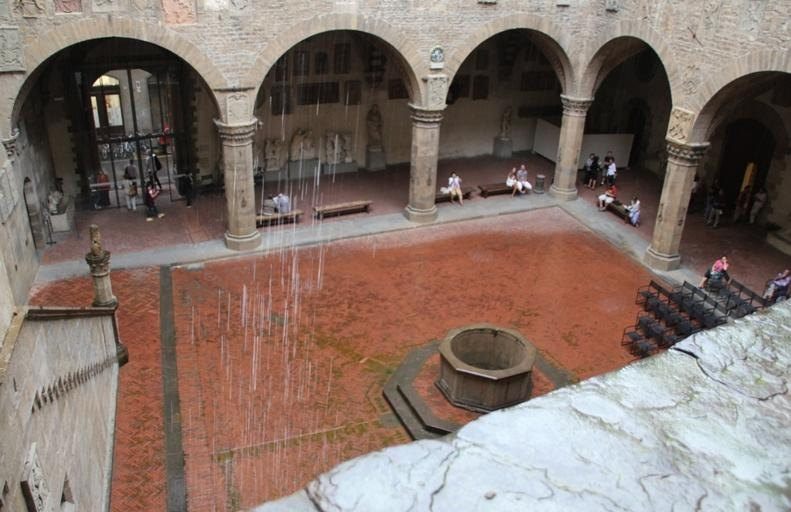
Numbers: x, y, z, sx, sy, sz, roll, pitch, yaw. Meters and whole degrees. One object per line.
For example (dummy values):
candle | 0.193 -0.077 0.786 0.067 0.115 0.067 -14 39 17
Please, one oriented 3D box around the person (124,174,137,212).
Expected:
person | -10.137 -2.425 18.512 0.404 1.289 1.455 -11 21 -26

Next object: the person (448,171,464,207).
person | 2.510 -2.734 19.887 0.605 1.156 0.666 2 19 10

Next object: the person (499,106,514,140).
person | 5.653 -6.695 24.412 0.741 1.534 0.406 -13 22 -30

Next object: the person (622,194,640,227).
person | 9.303 -1.763 18.869 0.602 1.053 0.875 8 21 25

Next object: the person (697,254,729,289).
person | 10.066 0.523 15.286 0.542 0.823 0.420 34 66 33

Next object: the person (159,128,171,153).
person | -9.111 -4.526 19.130 0.437 0.950 0.577 -16 24 -37

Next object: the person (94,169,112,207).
person | -11.200 -2.563 18.454 0.532 1.396 0.393 -8 20 -20

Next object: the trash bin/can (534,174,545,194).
trash bin/can | 6.304 -3.090 20.964 0.367 0.720 0.385 4 20 13

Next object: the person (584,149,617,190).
person | 9.133 -3.809 21.668 1.032 1.449 1.536 8 21 24
